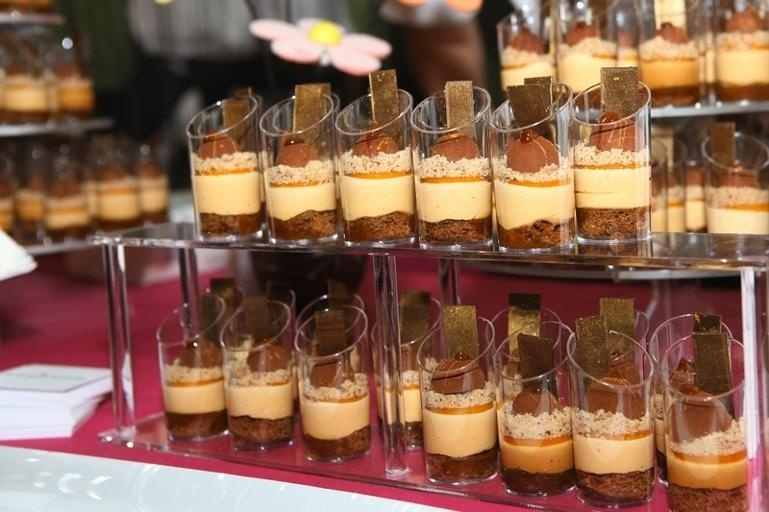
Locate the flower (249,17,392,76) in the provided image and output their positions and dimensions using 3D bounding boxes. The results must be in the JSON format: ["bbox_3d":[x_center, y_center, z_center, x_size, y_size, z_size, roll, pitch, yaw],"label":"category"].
[{"bbox_3d":[-0.282,-1.093,3.632,0.500,0.139,0.563,5,17,-14],"label":"flower"}]
